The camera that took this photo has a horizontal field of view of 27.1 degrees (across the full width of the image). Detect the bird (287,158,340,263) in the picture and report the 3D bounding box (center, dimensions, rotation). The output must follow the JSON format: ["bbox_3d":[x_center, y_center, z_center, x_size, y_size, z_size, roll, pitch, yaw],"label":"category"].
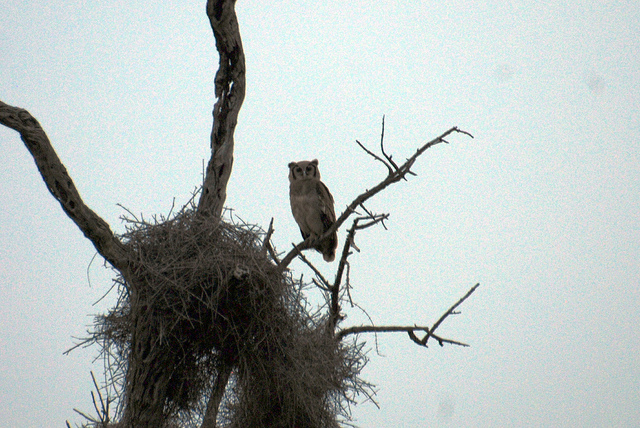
[{"bbox_3d":[-0.053,-0.014,10.521,0.348,0.827,0.623,-15,-32,-2],"label":"bird"}]
